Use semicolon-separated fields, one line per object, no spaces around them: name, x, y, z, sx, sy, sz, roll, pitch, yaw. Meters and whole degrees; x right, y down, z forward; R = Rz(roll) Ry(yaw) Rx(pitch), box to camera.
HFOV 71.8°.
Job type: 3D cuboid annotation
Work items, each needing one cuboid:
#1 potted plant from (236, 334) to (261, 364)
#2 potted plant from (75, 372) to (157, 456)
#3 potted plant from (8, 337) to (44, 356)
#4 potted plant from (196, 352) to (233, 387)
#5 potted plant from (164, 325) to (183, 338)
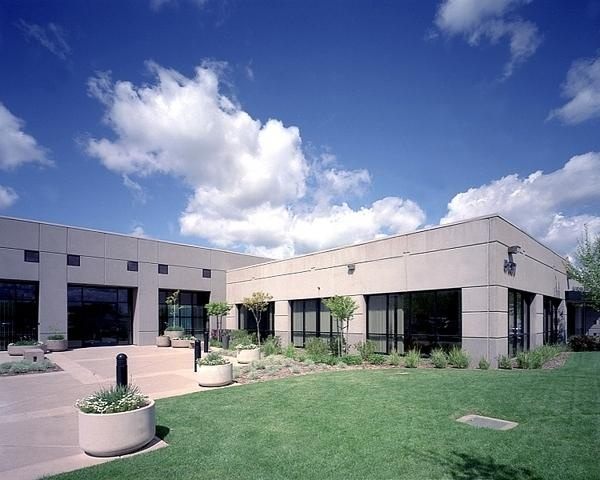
potted plant;-2.397;5.296;19.665;0.890;1.466;1.368;2;-13;-14
potted plant;-4.173;3.845;9.330;1.328;1.560;1.334;6;-10;-40
potted plant;-14.496;5.802;21.787;1.558;0.851;1.739;-2;-3;6
potted plant;-3.004;4.508;14.508;1.016;1.102;1.163;2;-6;19
potted plant;-8.792;6.620;29.253;0.814;0.746;0.937;-2;-9;15
